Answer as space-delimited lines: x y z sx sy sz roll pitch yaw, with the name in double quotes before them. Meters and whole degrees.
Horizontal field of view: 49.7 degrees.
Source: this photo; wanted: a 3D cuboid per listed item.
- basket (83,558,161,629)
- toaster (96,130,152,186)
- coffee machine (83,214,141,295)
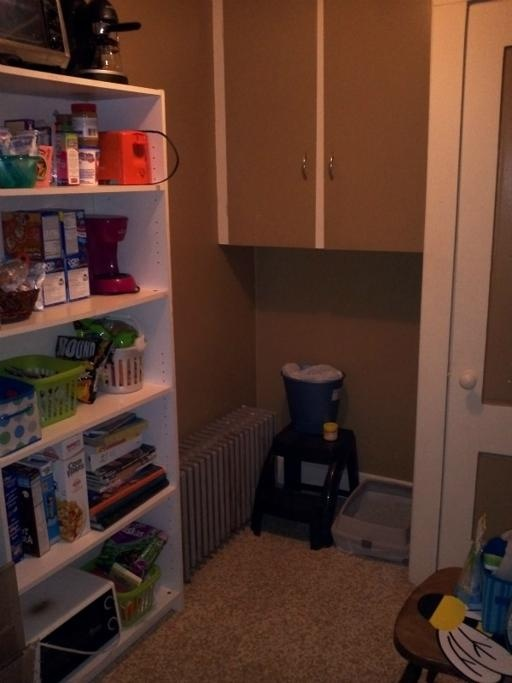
"basket" -0.472 0.834 1.924 0.149 0.213 0.273 2 9 22
"toaster" -0.402 -0.547 1.651 0.157 0.156 0.123 15 21 36
"coffee machine" -0.464 -0.280 1.726 0.208 0.298 0.171 11 18 33
